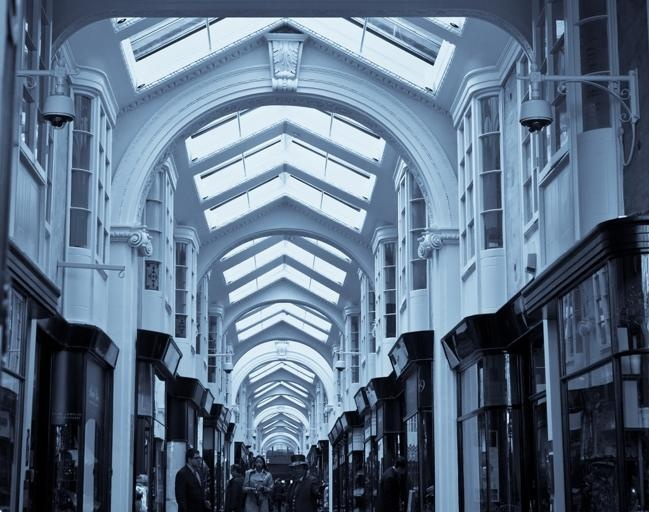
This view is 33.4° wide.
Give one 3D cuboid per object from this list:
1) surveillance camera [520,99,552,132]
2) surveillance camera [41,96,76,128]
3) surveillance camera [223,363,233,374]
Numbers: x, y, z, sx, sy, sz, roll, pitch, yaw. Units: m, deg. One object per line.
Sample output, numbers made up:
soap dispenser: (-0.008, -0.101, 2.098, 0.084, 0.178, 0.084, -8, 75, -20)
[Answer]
surveillance camera: (2.040, -1.339, 10.351, 0.211, 0.392, 0.242, -16, -40, 27)
surveillance camera: (-2.619, -1.381, 10.683, 0.248, 0.350, 0.296, -4, -15, 12)
surveillance camera: (-2.550, 2.915, 28.740, 0.268, 0.339, 0.306, 2, -25, -9)
